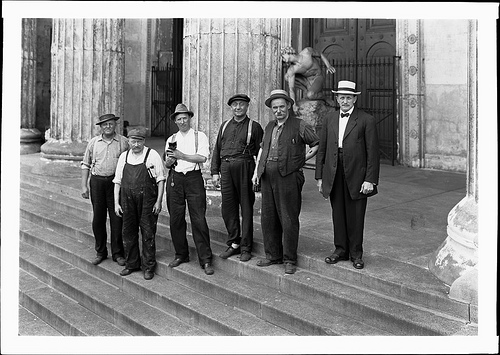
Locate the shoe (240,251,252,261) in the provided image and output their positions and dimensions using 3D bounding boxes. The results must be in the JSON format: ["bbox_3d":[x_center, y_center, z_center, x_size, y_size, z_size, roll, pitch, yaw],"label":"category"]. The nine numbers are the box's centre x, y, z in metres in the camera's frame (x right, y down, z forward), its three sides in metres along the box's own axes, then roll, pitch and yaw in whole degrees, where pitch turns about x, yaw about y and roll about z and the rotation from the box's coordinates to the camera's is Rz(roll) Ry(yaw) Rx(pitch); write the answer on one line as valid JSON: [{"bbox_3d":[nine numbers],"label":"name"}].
[{"bbox_3d":[-0.068,1.143,6.608,0.157,0.104,0.142,-1,11,-4],"label":"shoe"}]

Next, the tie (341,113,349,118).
[{"bbox_3d":[1.262,-0.826,6.012,0.098,0.060,0.023,5,11,26],"label":"tie"}]

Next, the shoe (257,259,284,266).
[{"bbox_3d":[0.288,1.162,6.409,0.339,0.139,0.131,6,-3,-9],"label":"shoe"}]

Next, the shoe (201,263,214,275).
[{"bbox_3d":[-0.614,1.319,6.613,0.129,0.125,0.247,-6,13,-26],"label":"shoe"}]

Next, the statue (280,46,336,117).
[{"bbox_3d":[1.702,-2.872,13.575,1.507,2.009,0.900,0,10,2],"label":"statue"}]

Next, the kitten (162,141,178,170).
[{"bbox_3d":[-1.131,-0.297,6.531,0.132,0.392,0.260,1,15,-37],"label":"kitten"}]

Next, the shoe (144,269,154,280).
[{"bbox_3d":[-1.533,1.454,6.819,0.103,0.102,0.270,0,8,-12],"label":"shoe"}]

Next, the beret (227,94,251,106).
[{"bbox_3d":[-0.174,-1.165,6.724,0.292,0.153,0.448,-1,12,-2],"label":"beret"}]

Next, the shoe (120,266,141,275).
[{"bbox_3d":[-1.812,1.402,6.886,0.274,0.128,0.092,0,12,-33],"label":"shoe"}]

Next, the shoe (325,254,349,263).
[{"bbox_3d":[1.180,1.096,6.134,0.306,0.142,0.109,3,-1,-12],"label":"shoe"}]

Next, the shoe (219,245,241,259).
[{"bbox_3d":[-0.293,1.124,6.783,0.393,0.182,0.131,-5,4,-28],"label":"shoe"}]

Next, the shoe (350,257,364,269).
[{"bbox_3d":[1.408,1.089,5.925,0.149,0.110,0.277,0,12,3],"label":"shoe"}]

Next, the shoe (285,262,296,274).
[{"bbox_3d":[0.552,1.219,6.133,0.159,0.118,0.149,-1,11,-2],"label":"shoe"}]

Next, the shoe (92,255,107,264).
[{"bbox_3d":[-2.444,1.317,7.340,0.233,0.109,0.163,-5,12,-21],"label":"shoe"}]

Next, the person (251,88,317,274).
[{"bbox_3d":[0.474,0.033,6.253,0.870,2.430,0.726,1,10,7],"label":"person"}]

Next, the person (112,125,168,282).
[{"bbox_3d":[-1.754,0.334,7.153,0.860,2.238,1.337,-3,11,-13],"label":"person"}]

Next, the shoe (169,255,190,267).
[{"bbox_3d":[-1.081,1.268,6.897,0.292,0.142,0.101,-5,4,-34],"label":"shoe"}]

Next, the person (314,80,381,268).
[{"bbox_3d":[1.272,-0.059,6.011,0.833,2.373,0.666,3,10,17],"label":"person"}]
